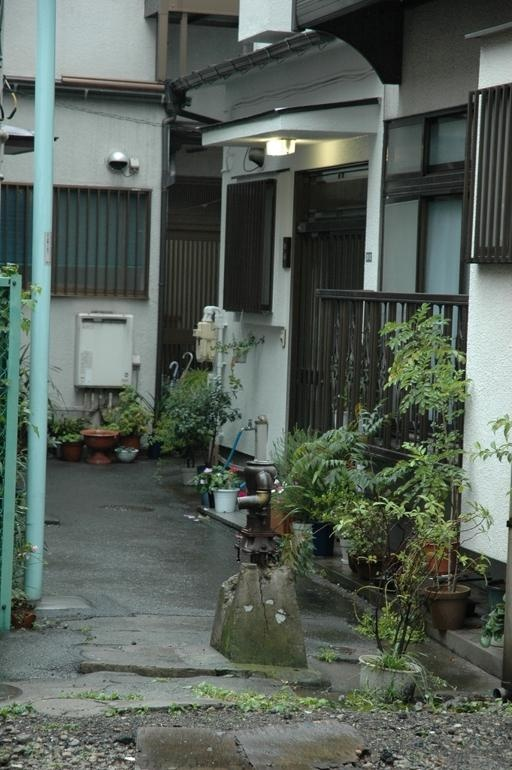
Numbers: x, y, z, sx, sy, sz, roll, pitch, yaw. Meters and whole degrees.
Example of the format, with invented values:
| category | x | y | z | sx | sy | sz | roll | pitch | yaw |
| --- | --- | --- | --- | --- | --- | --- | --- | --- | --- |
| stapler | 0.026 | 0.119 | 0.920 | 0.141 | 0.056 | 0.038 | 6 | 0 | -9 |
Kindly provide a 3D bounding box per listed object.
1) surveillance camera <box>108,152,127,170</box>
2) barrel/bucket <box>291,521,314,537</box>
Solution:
| category | x | y | z | sx | sy | sz | roll | pitch | yaw |
| --- | --- | --- | --- | --- | --- | --- | --- | --- | --- |
| surveillance camera | -2.244 | -3.631 | 13.642 | 0.276 | 0.268 | 0.298 | 3 | -11 | -8 |
| barrel/bucket | 0.407 | 1.303 | 7.559 | 0.148 | 0.102 | 0.144 | 2 | -1 | 0 |
